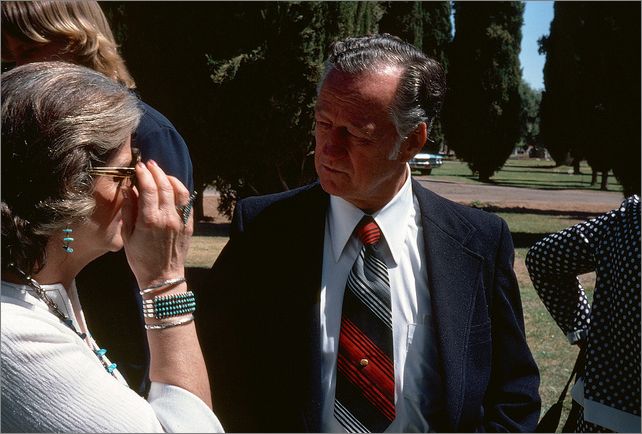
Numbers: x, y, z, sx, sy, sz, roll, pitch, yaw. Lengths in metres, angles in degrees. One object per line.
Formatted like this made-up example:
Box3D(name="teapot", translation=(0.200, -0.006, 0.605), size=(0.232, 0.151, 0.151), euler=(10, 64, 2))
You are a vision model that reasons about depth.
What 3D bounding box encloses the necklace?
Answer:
Box3D(name="necklace", translation=(-1.104, 0.413, 2.646), size=(0.153, 0.115, 1.030), euler=(17, 32, -49))
